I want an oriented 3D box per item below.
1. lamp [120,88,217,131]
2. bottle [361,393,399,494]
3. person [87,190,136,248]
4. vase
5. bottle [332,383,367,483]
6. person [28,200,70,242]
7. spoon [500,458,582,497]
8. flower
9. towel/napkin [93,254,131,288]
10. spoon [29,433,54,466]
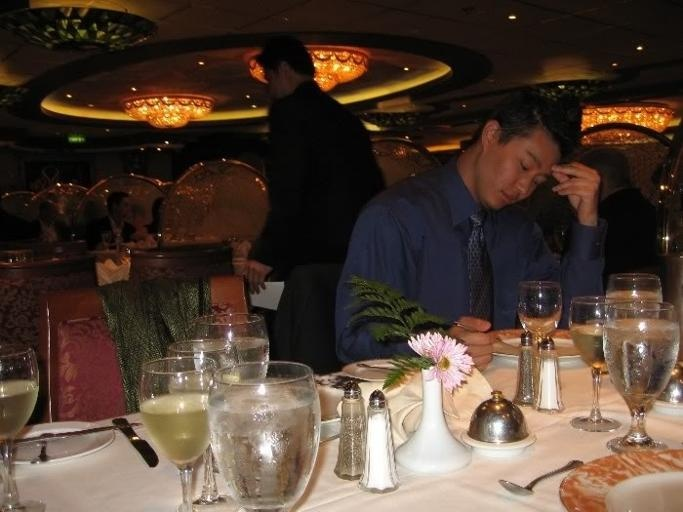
[{"bbox_3d":[-2.906,-2.436,9.119,1.456,0.504,0.639,-4,8,-16],"label":"lamp"},{"bbox_3d":[0.054,0.269,0.787,0.057,0.140,0.050,-1,9,4],"label":"bottle"},{"bbox_3d":[-2.470,-0.370,5.749,0.498,0.618,1.833,-6,8,-25],"label":"person"},{"bbox_3d":[0.144,0.274,0.933,0.158,0.163,0.151,-6,-4,29],"label":"vase"},{"bbox_3d":[0.012,0.269,0.827,0.052,0.135,0.075,-2,9,1],"label":"bottle"},{"bbox_3d":[-3.214,-0.381,5.988,0.271,0.474,1.010,-5,8,-22],"label":"person"},{"bbox_3d":[0.303,0.314,0.808,0.185,0.025,0.044,3,-5,-41],"label":"spoon"},{"bbox_3d":[0.104,0.164,0.831,0.186,0.068,0.181,-1,-26,9],"label":"flower"},{"bbox_3d":[-1.441,0.095,3.371,0.187,0.170,0.179,-2,15,-26],"label":"towel/napkin"},{"bbox_3d":[-0.507,0.330,0.915,0.035,0.062,0.038,-2,-7,16],"label":"spoon"}]
